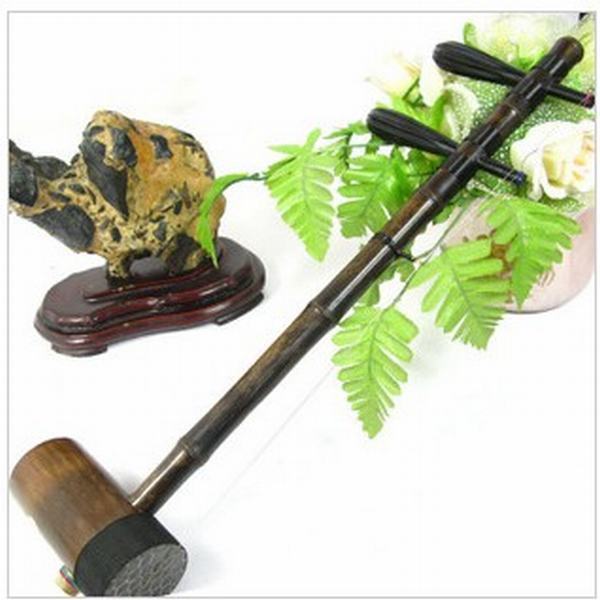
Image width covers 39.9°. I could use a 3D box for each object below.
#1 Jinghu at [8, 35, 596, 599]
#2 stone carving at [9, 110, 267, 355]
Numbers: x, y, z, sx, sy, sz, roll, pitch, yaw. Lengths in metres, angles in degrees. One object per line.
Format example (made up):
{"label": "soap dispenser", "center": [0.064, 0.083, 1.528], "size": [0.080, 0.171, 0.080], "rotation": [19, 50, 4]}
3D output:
{"label": "Jinghu", "center": [-0.096, -0.136, 2.049], "size": [1.250, 1.322, 1.074], "rotation": [-16, -4, -29]}
{"label": "stone carving", "center": [-0.406, -0.162, 2.101], "size": [0.616, 0.629, 0.495], "rotation": [-17, 52, -22]}
